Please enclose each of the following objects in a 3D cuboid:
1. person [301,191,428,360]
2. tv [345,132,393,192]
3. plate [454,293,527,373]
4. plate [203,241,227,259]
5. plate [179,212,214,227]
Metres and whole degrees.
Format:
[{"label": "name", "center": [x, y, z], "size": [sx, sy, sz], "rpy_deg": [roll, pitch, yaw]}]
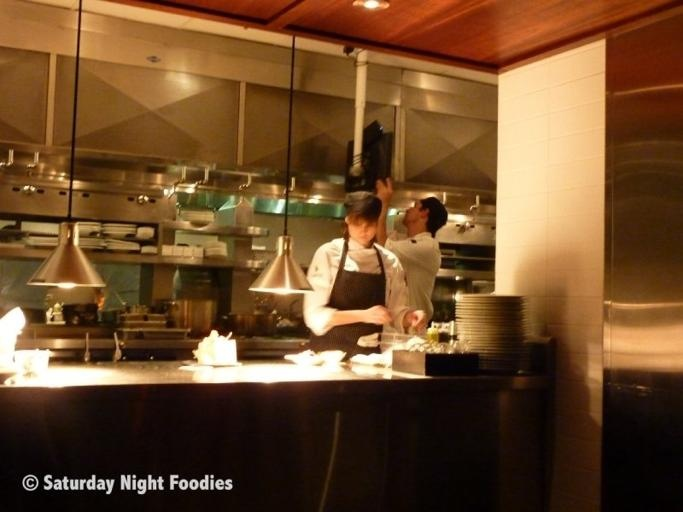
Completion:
[{"label": "person", "center": [0.204, 0.108, 4.119], "size": [0.754, 1.026, 0.660], "rpy_deg": [8, 5, 31]}, {"label": "tv", "center": [0.224, -0.779, 5.336], "size": [0.192, 0.489, 0.689], "rpy_deg": [3, 5, -19]}, {"label": "plate", "center": [0.813, 0.390, 3.486], "size": [0.375, 0.454, 0.412], "rpy_deg": [1, -1, 7]}, {"label": "plate", "center": [-1.141, -0.070, 5.763], "size": [0.148, 0.097, 0.153], "rpy_deg": [-4, -7, 36]}, {"label": "plate", "center": [-1.286, -0.346, 5.754], "size": [0.253, 0.146, 0.173], "rpy_deg": [2, 1, -4]}]
